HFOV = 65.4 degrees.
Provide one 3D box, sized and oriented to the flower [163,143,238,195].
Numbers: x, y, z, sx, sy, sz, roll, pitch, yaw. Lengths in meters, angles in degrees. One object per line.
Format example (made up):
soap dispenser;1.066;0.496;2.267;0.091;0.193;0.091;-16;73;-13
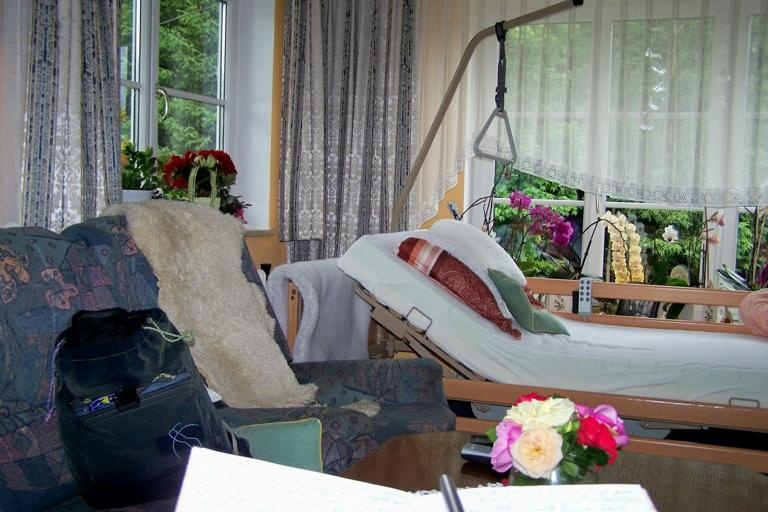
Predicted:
flower;-0.905;-0.404;2.966;0.263;0.150;0.267;2;3;39

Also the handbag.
handbag;-0.642;0.414;1.604;0.390;0.385;0.213;-18;-17;-21

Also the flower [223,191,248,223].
flower;-0.857;-0.305;3.525;0.123;0.053;0.106;-2;-33;22

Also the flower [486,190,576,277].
flower;0.972;-0.115;3.940;0.549;0.261;0.512;-21;4;-13
